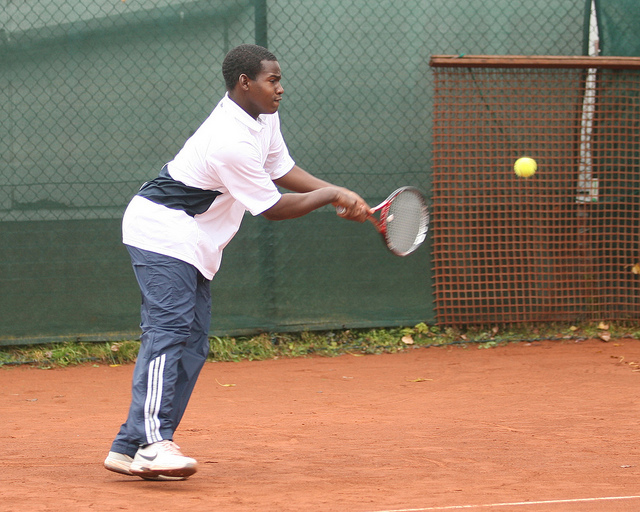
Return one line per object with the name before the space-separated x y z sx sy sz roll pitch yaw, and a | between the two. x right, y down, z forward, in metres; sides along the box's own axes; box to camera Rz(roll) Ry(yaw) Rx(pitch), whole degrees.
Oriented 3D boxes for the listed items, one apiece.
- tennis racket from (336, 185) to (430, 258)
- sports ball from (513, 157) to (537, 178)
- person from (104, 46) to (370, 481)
tennis racket | 0.505 -0.215 6.166 0.226 0.437 0.510 3 15 17
sports ball | 1.768 -0.755 8.521 0.197 0.188 0.265 1 14 10
person | -0.669 0.049 5.825 1.508 2.503 0.748 -13 21 -33
